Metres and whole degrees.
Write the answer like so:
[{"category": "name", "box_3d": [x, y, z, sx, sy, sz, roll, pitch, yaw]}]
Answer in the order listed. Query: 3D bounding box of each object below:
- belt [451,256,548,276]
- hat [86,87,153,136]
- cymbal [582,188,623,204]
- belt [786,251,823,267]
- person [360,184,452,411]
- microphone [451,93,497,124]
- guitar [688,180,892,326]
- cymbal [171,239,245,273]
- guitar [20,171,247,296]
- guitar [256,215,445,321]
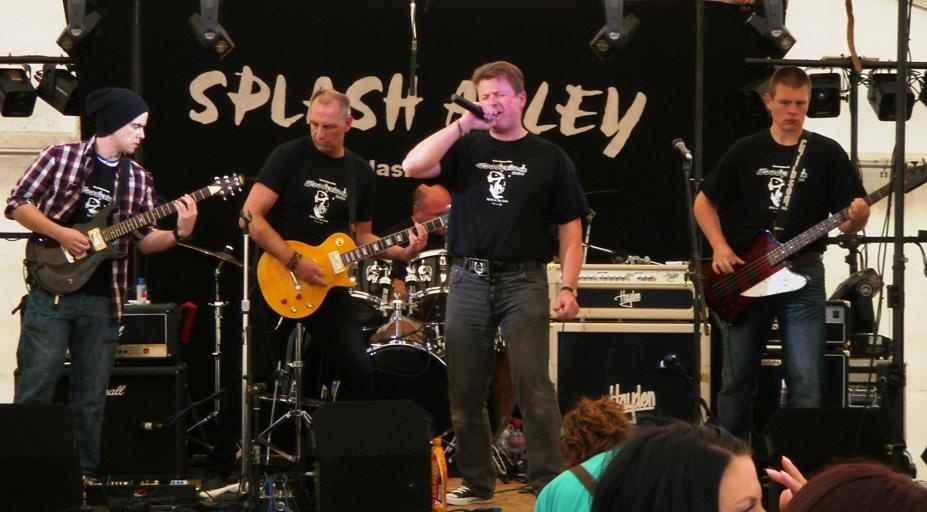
[{"category": "belt", "box_3d": [0.265, 0.084, 10.745, 0.739, 0.149, 0.087, 1, -7, 5]}, {"category": "hat", "box_3d": [-2.915, -1.213, 11.176, 0.448, 0.443, 0.381, 3, 0, -25]}, {"category": "cymbal", "box_3d": [1.375, -0.594, 13.150, 0.358, 0.139, 0.069, 1, -7, 2]}, {"category": "belt", "box_3d": [2.846, 0.021, 11.050, 0.306, 0.131, 0.071, 3, -7, -14]}, {"category": "person", "box_3d": [-0.418, 0.364, 12.157, 0.804, 1.983, 0.813, 2, 1, -15]}, {"category": "microphone", "box_3d": [0.073, -1.191, 10.572, 0.315, 0.224, 0.313, 1, -6, 5]}, {"category": "guitar", "box_3d": [2.739, -0.080, 10.922, 0.278, 0.654, 1.948, 15, -46, -46]}, {"category": "cymbal", "box_3d": [-2.296, -0.017, 12.070, 0.424, 0.089, 0.435, 16, 0, 42]}, {"category": "guitar", "box_3d": [-2.931, -0.197, 11.615, 1.415, 0.397, 0.190, -23, -4, -20]}, {"category": "guitar", "box_3d": [-0.953, 0.130, 12.795, 2.927, 1.108, 1.058, 0, 0, 8]}]
